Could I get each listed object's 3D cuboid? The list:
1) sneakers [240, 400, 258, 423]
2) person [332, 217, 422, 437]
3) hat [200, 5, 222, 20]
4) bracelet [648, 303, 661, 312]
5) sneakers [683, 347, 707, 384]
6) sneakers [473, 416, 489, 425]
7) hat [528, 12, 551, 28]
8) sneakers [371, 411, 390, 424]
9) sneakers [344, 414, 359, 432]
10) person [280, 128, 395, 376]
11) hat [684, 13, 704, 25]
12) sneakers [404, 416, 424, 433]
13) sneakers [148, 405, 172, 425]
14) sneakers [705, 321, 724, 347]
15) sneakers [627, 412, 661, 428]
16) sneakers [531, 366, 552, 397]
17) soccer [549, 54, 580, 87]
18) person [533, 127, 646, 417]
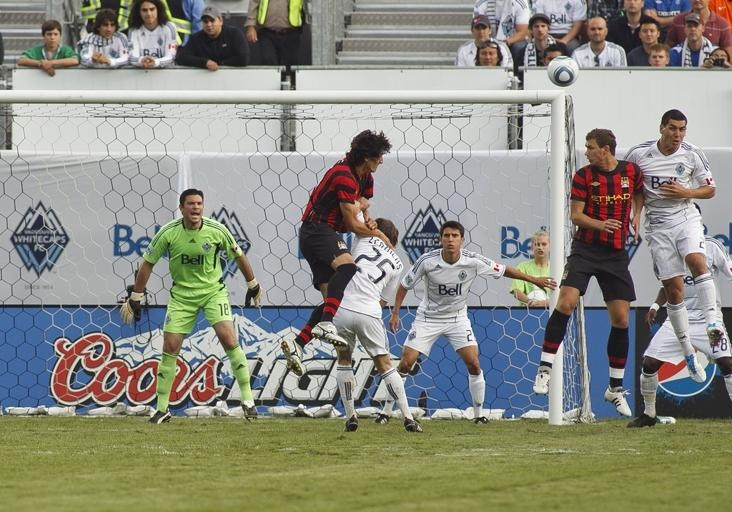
[{"bbox_3d":[-1.220,1.660,13.986,0.144,0.297,0.315,-1,12,-6],"label":"sneakers"},{"bbox_3d":[0.152,0.749,13.593,0.868,2.512,0.778,7,-28,0],"label":"person"},{"bbox_3d":[-1.896,-2.982,16.317,0.227,0.128,0.318,-1,13,-8],"label":"hat"},{"bbox_3d":[3.121,0.562,14.363,0.080,0.100,0.091,-5,-10,19],"label":"bracelet"},{"bbox_3d":[3.531,1.170,14.180,0.140,0.427,0.179,-28,-32,30],"label":"sneakers"},{"bbox_3d":[1.242,1.782,14.233,0.134,0.069,0.067,5,2,7],"label":"sneakers"},{"bbox_3d":[2.196,-2.977,16.779,0.217,0.127,0.323,0,-11,7],"label":"hat"},{"bbox_3d":[0.169,1.756,14.267,0.093,0.131,0.275,-1,-7,8],"label":"sneakers"},{"bbox_3d":[-0.141,1.708,13.393,0.107,0.134,0.292,2,-15,-2],"label":"sneakers"},{"bbox_3d":[-0.277,0.086,14.004,1.234,3.232,1.148,7,-28,0],"label":"person"},{"bbox_3d":[4.101,-2.952,16.548,0.187,0.146,0.274,1,-5,21],"label":"hat"},{"bbox_3d":[0.485,1.714,13.312,0.182,0.169,0.187,1,12,2],"label":"sneakers"},{"bbox_3d":[-2.169,1.712,13.922,0.256,0.129,0.107,-7,2,34],"label":"sneakers"},{"bbox_3d":[3.545,0.802,13.449,0.108,0.142,0.329,2,-44,9],"label":"sneakers"},{"bbox_3d":[2.911,1.725,13.833,0.332,0.173,0.140,2,-2,-7],"label":"sneakers"},{"bbox_3d":[1.806,1.264,13.520,0.129,0.261,0.241,4,12,16],"label":"sneakers"},{"bbox_3d":[2.100,-1.947,13.982,0.270,0.312,0.288,-1,3,-5],"label":"soccer"},{"bbox_3d":[2.317,0.137,13.670,1.151,3.024,0.836,4,-1,13],"label":"person"}]
